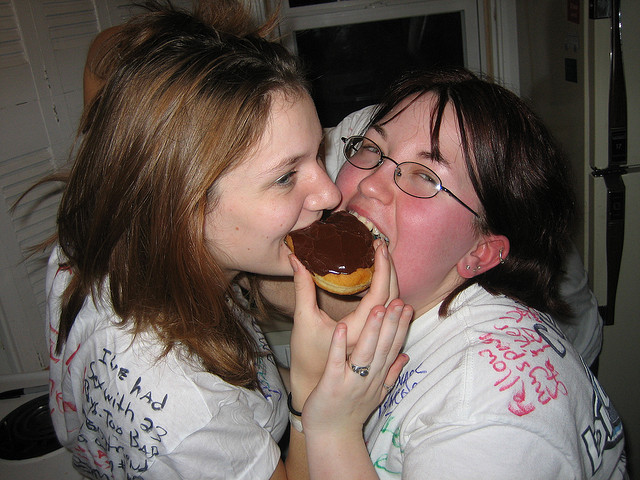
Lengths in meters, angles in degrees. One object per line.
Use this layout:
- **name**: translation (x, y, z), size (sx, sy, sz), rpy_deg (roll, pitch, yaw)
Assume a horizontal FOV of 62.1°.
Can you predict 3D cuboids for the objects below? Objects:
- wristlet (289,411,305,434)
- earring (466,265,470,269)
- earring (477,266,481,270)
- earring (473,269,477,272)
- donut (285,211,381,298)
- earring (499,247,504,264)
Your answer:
- **wristlet**: translation (-0.070, 0.606, 1.765), size (0.013, 0.057, 0.054), rpy_deg (-24, 16, -22)
- **earring**: translation (0.482, 0.092, 1.734), size (0.007, 0.011, 0.003), rpy_deg (-4, -14, -2)
- **earring**: translation (0.519, 0.095, 1.739), size (0.010, 0.012, 0.004), rpy_deg (-5, 6, -23)
- **earring**: translation (0.508, 0.104, 1.743), size (0.015, 0.010, 0.005), rpy_deg (-5, 6, -19)
- **donut**: translation (0.043, 0.028, 1.712), size (0.305, 0.095, 0.352), rpy_deg (24, 41, 16)
- **earring**: translation (0.593, 0.054, 1.737), size (0.013, 0.050, 0.019), rpy_deg (0, 6, 23)
